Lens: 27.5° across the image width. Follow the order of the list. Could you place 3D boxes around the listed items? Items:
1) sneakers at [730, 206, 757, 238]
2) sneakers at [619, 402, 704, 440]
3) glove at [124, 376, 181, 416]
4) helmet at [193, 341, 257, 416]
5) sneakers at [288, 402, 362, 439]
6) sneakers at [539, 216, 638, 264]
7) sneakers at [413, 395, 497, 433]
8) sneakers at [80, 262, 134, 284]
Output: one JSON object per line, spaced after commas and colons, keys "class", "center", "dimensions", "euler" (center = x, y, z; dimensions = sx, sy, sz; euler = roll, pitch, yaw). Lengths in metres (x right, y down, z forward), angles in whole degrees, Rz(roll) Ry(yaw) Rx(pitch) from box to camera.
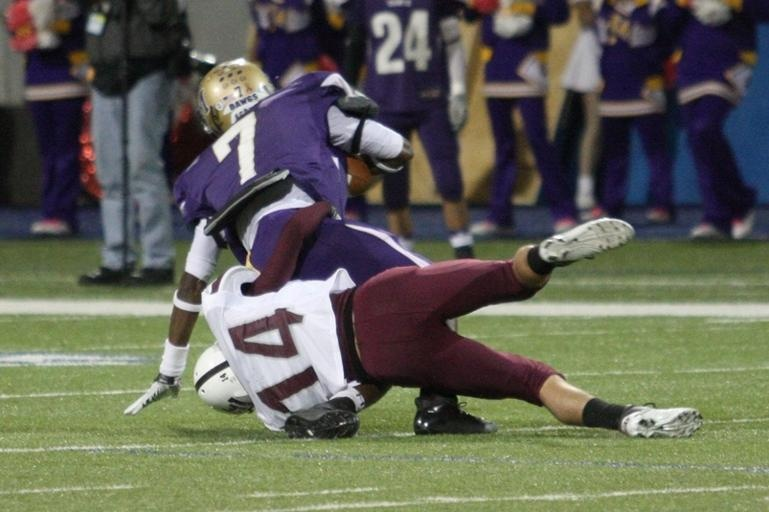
{"class": "sneakers", "center": [2.164, -0.187, 9.396], "dimensions": [0.103, 0.208, 0.220], "euler": [11, 17, 41]}
{"class": "sneakers", "center": [1.105, 0.660, 6.272], "dimensions": [0.246, 0.099, 0.152], "euler": [-1, -4, -2]}
{"class": "glove", "center": [-0.995, 0.612, 6.735], "dimensions": [0.197, 0.088, 0.063], "euler": [-34, 17, -12]}
{"class": "helmet", "center": [-0.688, 0.525, 6.636], "dimensions": [0.277, 0.222, 0.243], "euler": [36, 7, -15]}
{"class": "sneakers", "center": [-0.229, 0.670, 6.344], "dimensions": [0.314, 0.120, 0.141], "euler": [-3, 30, 15]}
{"class": "sneakers", "center": [0.782, -0.058, 6.006], "dimensions": [0.340, 0.125, 0.171], "euler": [-15, 8, -1]}
{"class": "sneakers", "center": [0.287, 0.651, 6.426], "dimensions": [0.365, 0.158, 0.117], "euler": [0, -4, -15]}
{"class": "sneakers", "center": [-1.602, 0.102, 9.078], "dimensions": [0.322, 0.121, 0.114], "euler": [1, 0, -8]}
